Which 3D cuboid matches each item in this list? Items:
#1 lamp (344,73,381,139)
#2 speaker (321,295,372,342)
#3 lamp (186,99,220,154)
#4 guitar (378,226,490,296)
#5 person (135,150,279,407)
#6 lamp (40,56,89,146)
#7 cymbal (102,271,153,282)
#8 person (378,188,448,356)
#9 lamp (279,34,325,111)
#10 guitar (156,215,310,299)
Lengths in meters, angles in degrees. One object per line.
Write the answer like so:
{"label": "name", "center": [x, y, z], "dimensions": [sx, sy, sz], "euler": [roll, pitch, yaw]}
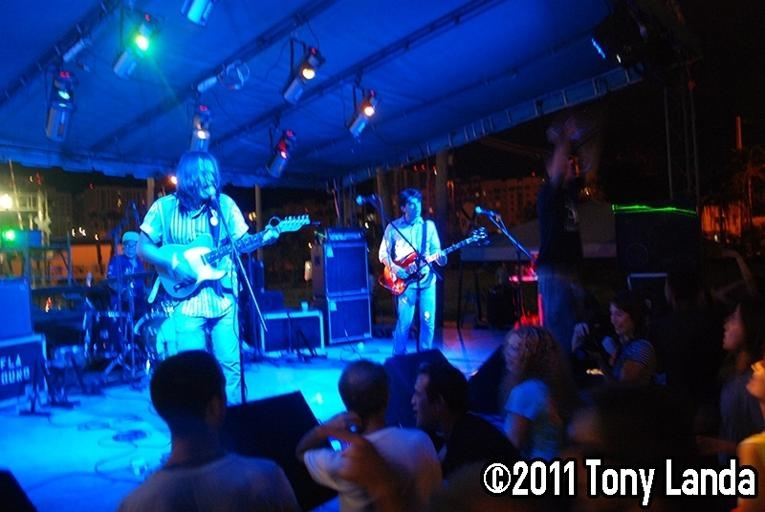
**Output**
{"label": "lamp", "center": [-0.302, -1.852, 7.597], "dimensions": [0.199, 0.555, 0.404], "euler": [17, 8, -20]}
{"label": "speaker", "center": [-0.604, 0.974, 9.254], "dimensions": [0.640, 0.662, 0.246], "euler": [2, -9, -40]}
{"label": "lamp", "center": [-2.270, -1.539, 7.467], "dimensions": [0.274, 0.702, 0.271], "euler": [-2, 40, -23]}
{"label": "guitar", "center": [0.753, 0.035, 8.586], "dimensions": [1.240, 0.484, 0.181], "euler": [-28, -6, 11]}
{"label": "person", "center": [-1.520, 0.305, 5.177], "dimensions": [0.967, 2.437, 0.571], "euler": [-6, 21, -24]}
{"label": "lamp", "center": [-3.632, -1.743, 6.771], "dimensions": [0.343, 0.674, 0.914], "euler": [1, -4, -30]}
{"label": "cymbal", "center": [-3.056, 0.257, 7.344], "dimensions": [0.434, 0.102, 0.466], "euler": [-1, -3, 17]}
{"label": "person", "center": [0.351, 0.378, 7.505], "dimensions": [0.904, 2.540, 0.614], "euler": [1, 23, 8]}
{"label": "lamp", "center": [-0.918, -2.126, 6.824], "dimensions": [0.464, 0.563, 0.659], "euler": [0, -4, -11]}
{"label": "guitar", "center": [-1.237, -0.086, 5.230], "dimensions": [1.431, 0.578, 0.167], "euler": [-27, 7, -25]}
